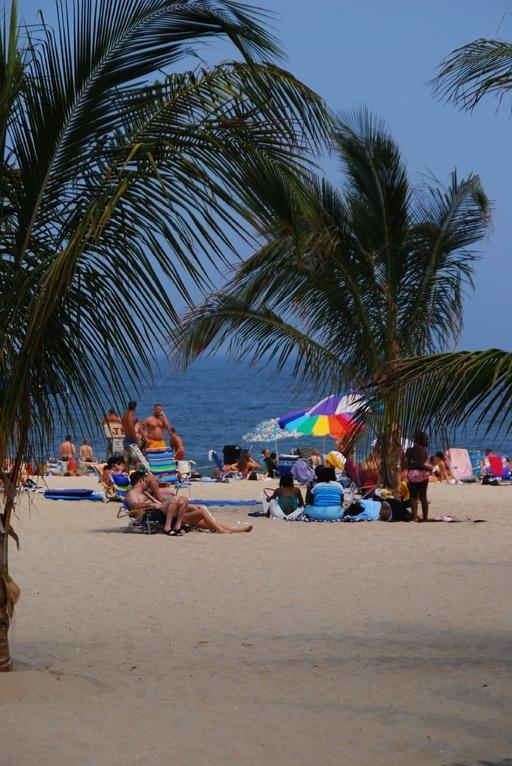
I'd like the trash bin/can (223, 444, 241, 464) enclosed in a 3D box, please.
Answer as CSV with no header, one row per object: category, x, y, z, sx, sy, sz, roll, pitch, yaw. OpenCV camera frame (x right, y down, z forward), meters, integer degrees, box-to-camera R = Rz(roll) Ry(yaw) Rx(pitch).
trash bin/can,-0.675,1.776,22.135,0.432,0.664,0.436,1,-7,7

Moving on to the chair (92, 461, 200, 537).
chair,-1.397,1.443,10.905,1.304,0.923,0.783,8,3,19
